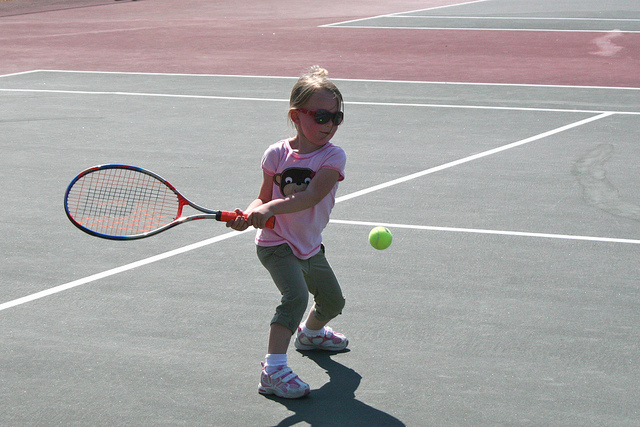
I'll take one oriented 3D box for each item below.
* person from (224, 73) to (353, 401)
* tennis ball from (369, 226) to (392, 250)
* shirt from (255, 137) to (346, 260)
[{"bbox_3d":[-0.149,0.116,5.647,0.826,2.147,1.254,9,25,10],"label":"person"},{"bbox_3d":[0.513,0.238,6.905,0.181,0.253,0.189,3,24,-1],"label":"tennis ball"},{"bbox_3d":[-0.213,-0.101,5.700,0.578,0.819,0.543,16,27,26],"label":"shirt"}]
